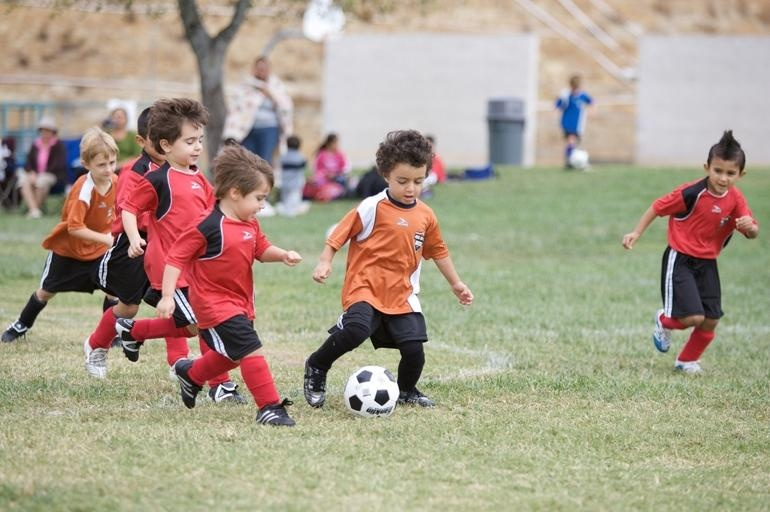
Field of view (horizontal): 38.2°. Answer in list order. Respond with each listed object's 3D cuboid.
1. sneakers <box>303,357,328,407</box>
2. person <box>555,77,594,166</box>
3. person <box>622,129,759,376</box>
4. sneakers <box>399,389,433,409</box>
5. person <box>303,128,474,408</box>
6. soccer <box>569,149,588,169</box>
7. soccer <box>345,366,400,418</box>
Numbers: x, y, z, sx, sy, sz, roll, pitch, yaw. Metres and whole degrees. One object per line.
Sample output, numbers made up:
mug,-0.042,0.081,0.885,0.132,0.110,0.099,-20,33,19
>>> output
sneakers,-0.569,1.012,8.850,0.137,0.408,0.181,-3,0,-30
person,1.642,-1.184,9.645,0.342,0.757,0.175,-3,5,-44
person,2.729,-0.043,9.708,0.951,2.097,0.326,2,4,17
sneakers,0.242,1.147,8.918,0.311,0.143,0.111,2,-3,4
person,0.006,0.101,8.826,1.244,2.200,0.359,1,4,-5
soccer,1.699,-0.833,9.610,0.168,0.164,0.131,-3,6,29
soccer,-0.101,1.032,8.811,0.371,0.372,0.379,20,19,37
